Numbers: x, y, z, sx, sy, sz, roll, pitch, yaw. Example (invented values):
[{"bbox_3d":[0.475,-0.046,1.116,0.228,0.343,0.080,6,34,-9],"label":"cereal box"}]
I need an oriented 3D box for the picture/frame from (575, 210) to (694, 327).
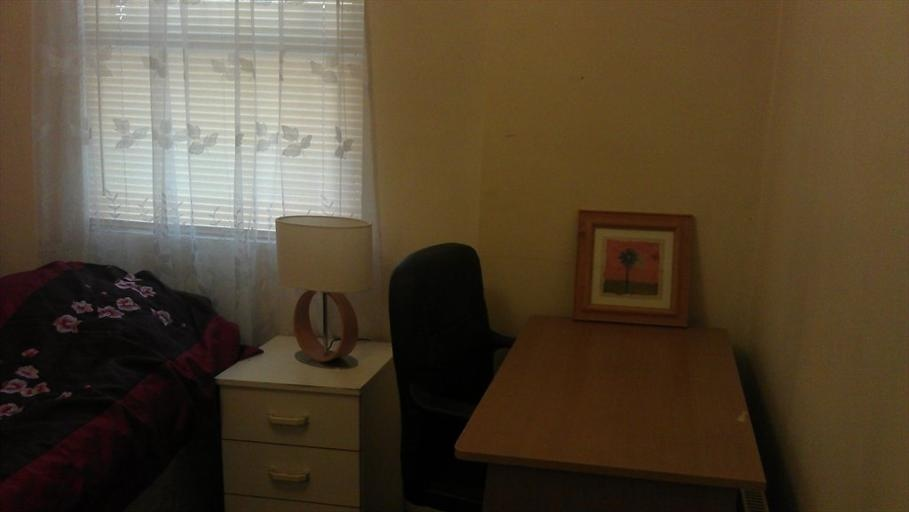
[{"bbox_3d":[0.848,0.071,3.450,0.566,0.524,0.042,3,-6,6],"label":"picture/frame"}]
